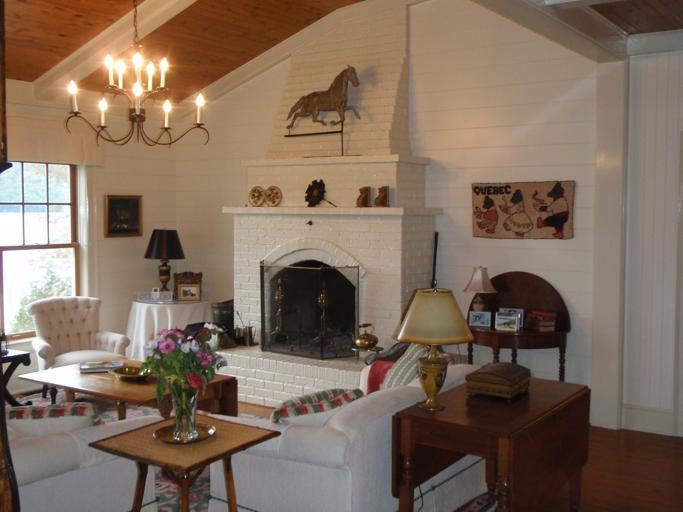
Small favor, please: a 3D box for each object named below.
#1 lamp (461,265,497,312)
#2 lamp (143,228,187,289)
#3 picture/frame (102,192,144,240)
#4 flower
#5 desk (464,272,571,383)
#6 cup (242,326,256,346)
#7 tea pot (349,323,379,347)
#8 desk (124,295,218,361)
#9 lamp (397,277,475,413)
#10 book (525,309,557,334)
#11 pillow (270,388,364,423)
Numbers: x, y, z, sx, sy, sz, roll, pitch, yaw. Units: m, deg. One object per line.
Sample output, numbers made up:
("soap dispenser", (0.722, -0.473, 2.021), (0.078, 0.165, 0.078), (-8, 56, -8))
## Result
("lamp", (1.370, 0.367, 5.804), (0.340, 0.513, 0.331), (3, -1, -37))
("lamp", (-2.205, 0.038, 7.240), (0.386, 0.752, 0.460), (-10, 14, -36))
("picture/frame", (-2.716, -0.505, 7.234), (0.062, 0.613, 0.595), (2, 3, 39))
("flower", (-0.918, 0.622, 3.385), (0.438, 0.429, 0.506), (-20, -27, 5))
("desk", (1.740, 0.797, 5.948), (1.020, 1.205, 0.503), (-1, 15, 3))
("cup", (-1.032, 0.900, 6.637), (0.148, 0.213, 0.117), (-4, 11, -7))
("tea pot", (0.242, 0.788, 5.981), (0.254, 0.241, 0.253), (0, -2, 0))
("desk", (-2.045, 0.731, 6.756), (0.997, 0.915, 0.988), (4, -5, -6))
("lamp", (0.579, 0.542, 3.640), (0.625, 0.908, 0.619), (1, 1, 19))
("book", (1.871, 0.607, 5.492), (0.269, 0.154, 0.222), (1, 11, 14))
("pillow", (-0.152, 0.881, 3.516), (0.368, 0.076, 0.232), (-12, -9, -14))
